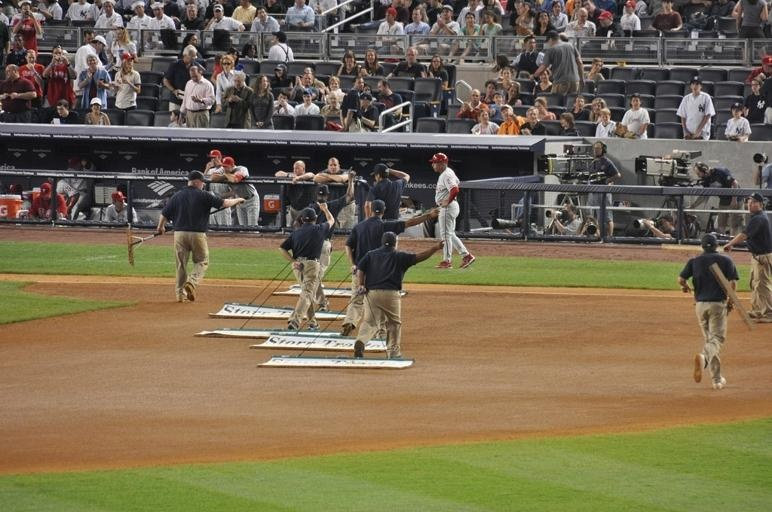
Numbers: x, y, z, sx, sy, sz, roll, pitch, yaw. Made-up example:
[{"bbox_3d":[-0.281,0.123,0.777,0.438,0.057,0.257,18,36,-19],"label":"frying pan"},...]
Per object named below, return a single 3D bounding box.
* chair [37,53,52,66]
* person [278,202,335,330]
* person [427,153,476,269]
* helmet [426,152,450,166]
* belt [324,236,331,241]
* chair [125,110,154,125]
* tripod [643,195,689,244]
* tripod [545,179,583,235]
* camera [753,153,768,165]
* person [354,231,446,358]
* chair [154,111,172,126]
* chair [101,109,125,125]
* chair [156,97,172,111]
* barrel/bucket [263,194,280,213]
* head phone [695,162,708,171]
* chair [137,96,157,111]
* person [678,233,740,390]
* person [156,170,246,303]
[{"bbox_3d":[-10.085,-5.841,54.213,0.413,0.360,0.394,-2,-3,5],"label":"chair"},{"bbox_3d":[-1.713,0.236,40.084,1.200,2.750,0.545,-3,5,-26],"label":"person"},{"bbox_3d":[1.529,-1.121,45.094,1.372,2.950,1.067,-1,0,41],"label":"person"},{"bbox_3d":[1.281,-2.276,43.406,0.518,0.257,0.361,8,11,9],"label":"helmet"},{"bbox_3d":[-1.278,-0.373,41.075,0.100,0.092,0.089,-10,32,-23],"label":"belt"},{"bbox_3d":[-6.922,-3.867,51.558,0.514,0.637,0.553,0,1,-3],"label":"chair"},{"bbox_3d":[7.369,-0.874,48.409,0.781,1.395,0.819,0,-1,-33],"label":"tripod"},{"bbox_3d":[4.809,-0.955,48.844,0.984,0.803,0.365,-1,4,4],"label":"tripod"},{"bbox_3d":[10.097,-2.590,48.881,0.338,0.316,0.167,15,49,10],"label":"camera"},{"bbox_3d":[0.046,0.836,38.368,1.433,2.658,0.688,-1,4,3],"label":"person"},{"bbox_3d":[-6.208,-3.859,51.497,0.414,0.499,0.432,1,4,1],"label":"chair"},{"bbox_3d":[-7.697,-3.906,51.707,0.437,0.541,0.471,0,4,-4],"label":"chair"},{"bbox_3d":[-6.266,-4.302,51.885,0.393,0.342,0.374,0,-6,2],"label":"chair"},{"bbox_3d":[-3.062,-1.394,49.383,0.513,0.459,0.488,0,3,0],"label":"barrel/bucket"},{"bbox_3d":[8.449,-2.359,48.421,0.220,0.275,0.269,-9,-43,27],"label":"head phone"},{"bbox_3d":[-6.779,-4.320,52.028,0.480,0.471,0.423,0,10,-7],"label":"chair"},{"bbox_3d":[6.704,1.145,37.436,1.072,3.125,0.626,0,4,8],"label":"person"},{"bbox_3d":[-4.443,-0.415,42.402,1.577,3.052,1.093,-2,4,-7],"label":"person"}]
